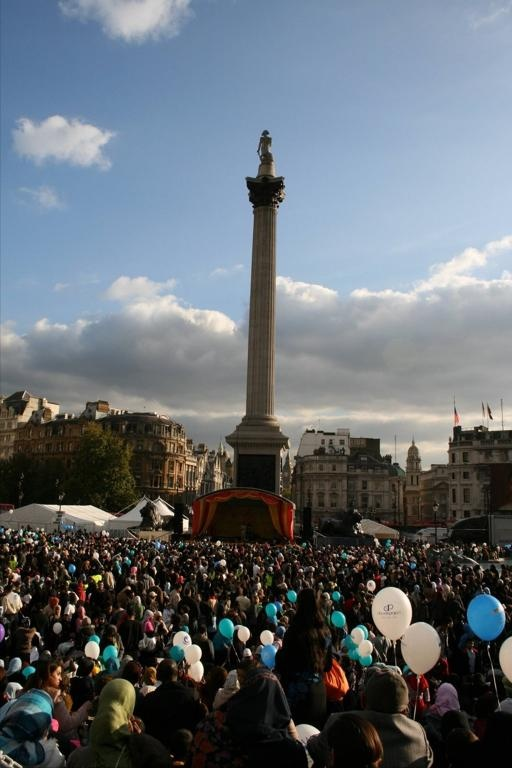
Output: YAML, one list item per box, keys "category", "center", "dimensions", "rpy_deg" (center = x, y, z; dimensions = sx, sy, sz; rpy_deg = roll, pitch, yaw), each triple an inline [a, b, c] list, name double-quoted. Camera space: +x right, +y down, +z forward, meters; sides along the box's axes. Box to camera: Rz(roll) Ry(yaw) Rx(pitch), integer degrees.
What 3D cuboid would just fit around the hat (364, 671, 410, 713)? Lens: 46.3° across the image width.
- category: "hat"
  center: [0.825, 1.981, 3.821]
  dimensions: [0.249, 0.263, 0.341]
  rpy_deg: [0, -6, 6]
